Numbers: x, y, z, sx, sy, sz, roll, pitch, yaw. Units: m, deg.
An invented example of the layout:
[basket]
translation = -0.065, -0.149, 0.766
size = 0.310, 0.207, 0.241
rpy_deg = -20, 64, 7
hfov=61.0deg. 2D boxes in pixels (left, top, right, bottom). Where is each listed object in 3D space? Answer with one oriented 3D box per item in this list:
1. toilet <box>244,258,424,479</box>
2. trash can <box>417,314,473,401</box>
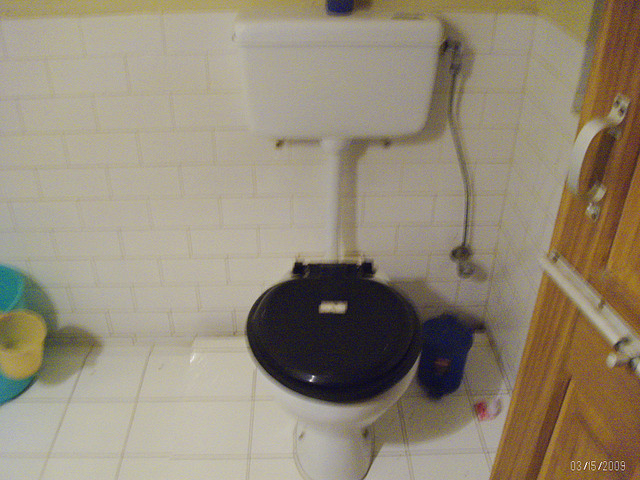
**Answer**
[toilet]
translation = 0.052, 0.357, 1.673
size = 0.656, 0.619, 0.585
rpy_deg = 0, 40, 3
[trash can]
translation = 0.407, 0.399, 1.775
size = 0.202, 0.235, 0.189
rpy_deg = -17, 53, -10
